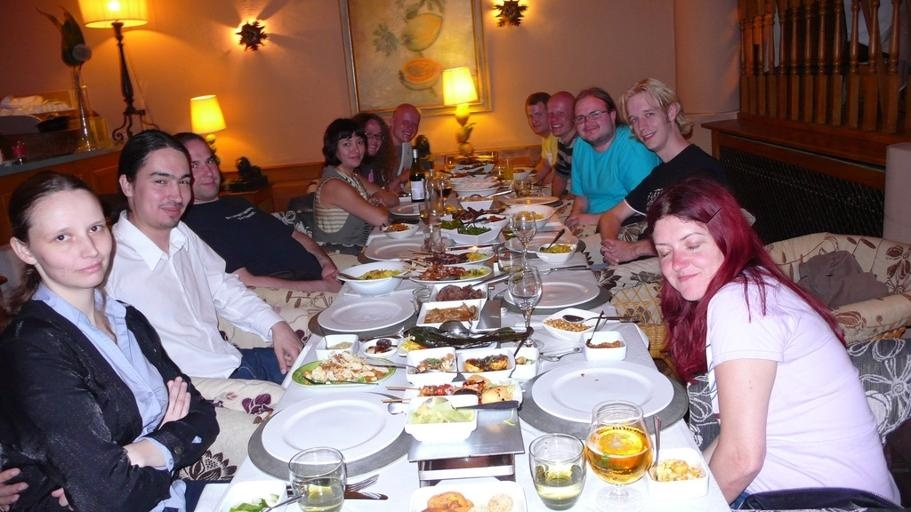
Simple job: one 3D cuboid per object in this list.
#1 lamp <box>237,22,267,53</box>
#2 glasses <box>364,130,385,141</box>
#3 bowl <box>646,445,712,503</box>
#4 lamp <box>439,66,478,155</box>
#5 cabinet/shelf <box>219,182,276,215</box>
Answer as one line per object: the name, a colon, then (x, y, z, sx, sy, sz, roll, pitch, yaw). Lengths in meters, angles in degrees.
lamp: (-2.540, -2.750, 7.134, 0.366, 0.308, 0.098, -7, 24, -5)
glasses: (-0.787, -1.171, 5.554, 0.248, 0.065, 0.250, -4, 7, -43)
bowl: (0.698, 0.684, 1.796, 0.186, 0.116, 0.116, -3, 17, 7)
lamp: (0.080, -1.790, 6.982, 0.458, 1.008, 0.616, -6, 17, 2)
cabinet/shelf: (-2.048, -0.582, 5.578, 0.383, 0.399, 0.647, -8, 20, -17)
